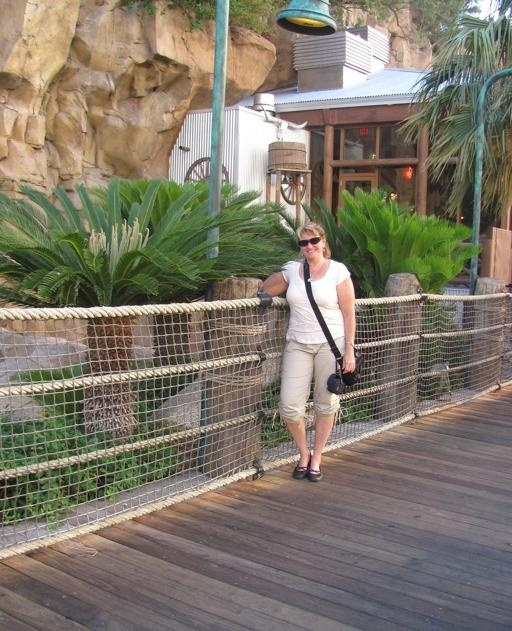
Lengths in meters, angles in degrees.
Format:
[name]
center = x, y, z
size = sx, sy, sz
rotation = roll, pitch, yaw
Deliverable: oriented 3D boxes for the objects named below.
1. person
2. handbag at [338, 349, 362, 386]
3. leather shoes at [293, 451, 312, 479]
[person]
center = 0.286, 0.198, 3.487
size = 0.542, 1.428, 0.271
rotation = 5, 4, 36
[handbag]
center = 0.520, 0.300, 3.457
size = 0.070, 0.184, 0.141
rotation = 16, 28, 41
[leather shoes]
center = 0.268, 0.866, 3.474
size = 0.061, 0.047, 0.169
rotation = -4, 13, 20
